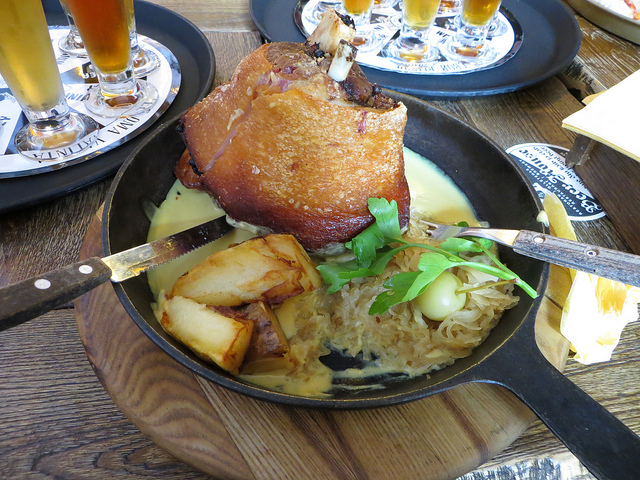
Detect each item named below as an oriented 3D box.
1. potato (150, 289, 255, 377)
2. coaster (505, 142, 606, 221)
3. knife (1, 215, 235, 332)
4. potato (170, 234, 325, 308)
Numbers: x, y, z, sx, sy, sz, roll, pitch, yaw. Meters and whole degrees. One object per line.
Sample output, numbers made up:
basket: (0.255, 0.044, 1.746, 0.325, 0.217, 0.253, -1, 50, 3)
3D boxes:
potato: (-0.209, 0.172, 0.930, 0.212, 0.087, 0.160, 21, 29, 37)
coaster: (0.618, -0.148, 1.319, 0.225, 0.117, 0.299, -12, 27, -23)
knife: (-0.296, 0.021, 1.048, 0.110, 0.037, 0.815, 45, 32, 21)
potato: (-0.145, 0.068, 1.019, 0.287, 0.064, 0.154, -13, 58, -10)
